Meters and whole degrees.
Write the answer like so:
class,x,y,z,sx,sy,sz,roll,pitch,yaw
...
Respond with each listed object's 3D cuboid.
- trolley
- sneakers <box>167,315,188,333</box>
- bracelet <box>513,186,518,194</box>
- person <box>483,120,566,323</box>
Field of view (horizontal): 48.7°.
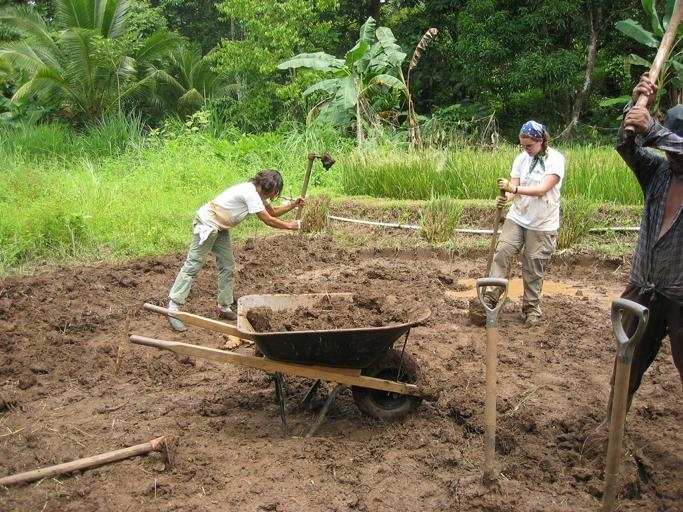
class,x,y,z,sx,sy,sz,roll,pitch,yaw
trolley,-0.598,0.893,7.190,2.449,1.109,1.307,0,10,-8
sneakers,-1.776,0.745,8.191,0.115,0.092,0.268,-24,-44,34
bracelet,1.924,-0.735,8.308,0.043,0.067,0.057,5,0,39
person,2.108,-0.379,8.584,0.651,2.287,0.789,9,18,26
